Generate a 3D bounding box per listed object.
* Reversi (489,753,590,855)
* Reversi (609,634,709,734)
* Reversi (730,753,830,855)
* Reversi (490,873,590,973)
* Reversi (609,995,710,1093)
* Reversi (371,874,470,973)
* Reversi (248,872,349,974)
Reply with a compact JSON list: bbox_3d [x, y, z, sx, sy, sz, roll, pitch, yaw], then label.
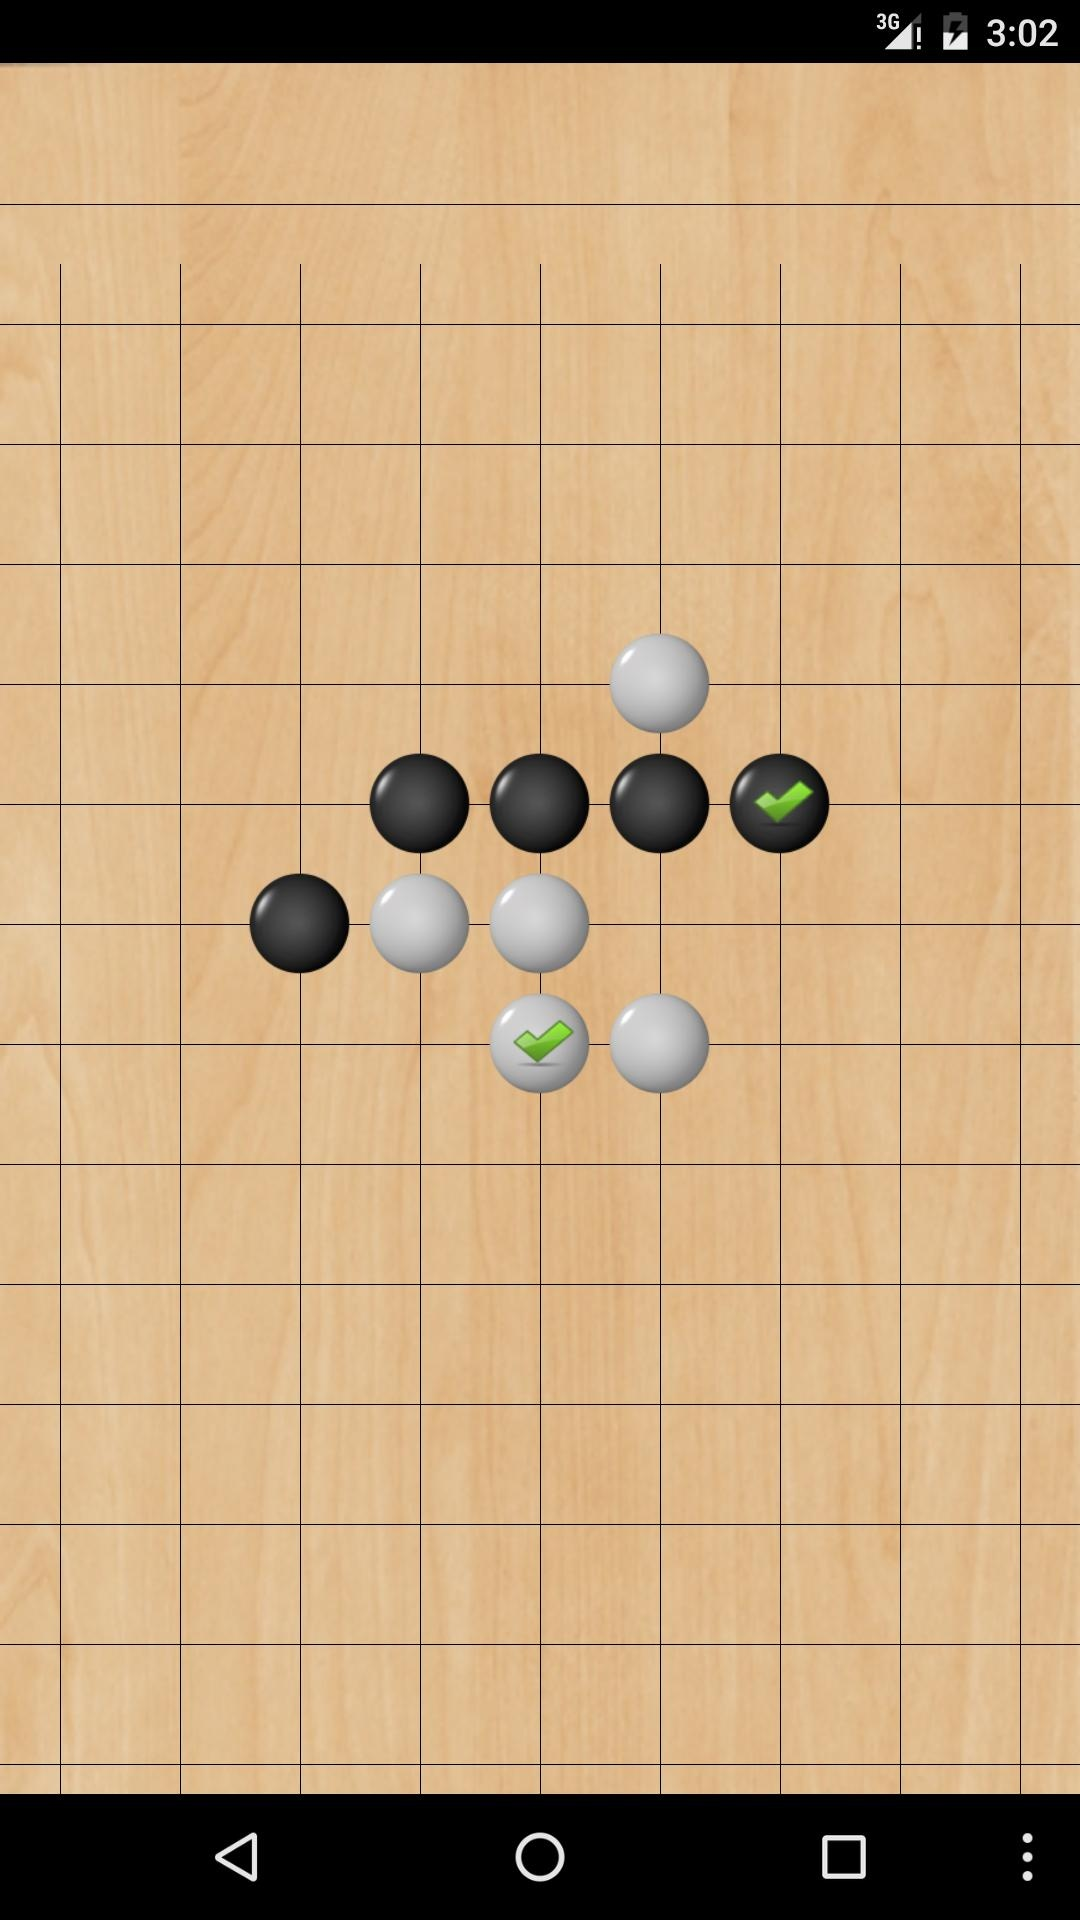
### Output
[{"bbox_3d":[-0.002,-0.178,2.245,0.106,0.022,0.115,3,-90,1],"label":"Reversi"},{"bbox_3d":[0.137,-0.308,2.230,0.101,0.057,0.109,2,-90,0],"label":"Reversi"},{"bbox_3d":[0.274,-0.176,2.253,0.109,0.072,0.087,-1,-50,-3],"label":"Reversi"},{"bbox_3d":[0.002,-0.042,2.225,0.100,0.057,0.108,-2,-86,-8],"label":"Reversi"},{"bbox_3d":[0.136,0.095,2.226,0.100,0.057,0.108,2,-82,-4],"label":"Reversi"},{"bbox_3d":[-0.135,-0.039,2.224,0.100,0.057,0.108,-1,-85,-7],"label":"Reversi"},{"bbox_3d":[-0.274,-0.037,2.248,0.105,0.021,0.114,4,-91,0],"label":"Reversi"}]
